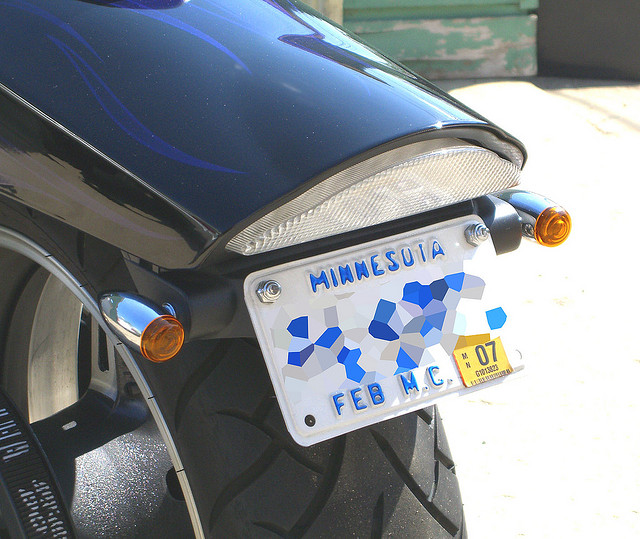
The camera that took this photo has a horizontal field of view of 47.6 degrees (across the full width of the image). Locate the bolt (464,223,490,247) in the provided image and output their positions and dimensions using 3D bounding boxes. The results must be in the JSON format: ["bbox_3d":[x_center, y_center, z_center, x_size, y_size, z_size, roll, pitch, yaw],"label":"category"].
[{"bbox_3d":[0.310,-0.065,1.453,0.037,0.045,0.046,-2,87,-15],"label":"bolt"}]

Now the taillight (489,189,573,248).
[{"bbox_3d":[0.447,-0.122,1.610,0.189,0.098,0.092,24,97,45],"label":"taillight"}]

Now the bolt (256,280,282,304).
[{"bbox_3d":[-0.097,0.041,1.342,0.043,0.023,0.042,4,81,6],"label":"bolt"}]
